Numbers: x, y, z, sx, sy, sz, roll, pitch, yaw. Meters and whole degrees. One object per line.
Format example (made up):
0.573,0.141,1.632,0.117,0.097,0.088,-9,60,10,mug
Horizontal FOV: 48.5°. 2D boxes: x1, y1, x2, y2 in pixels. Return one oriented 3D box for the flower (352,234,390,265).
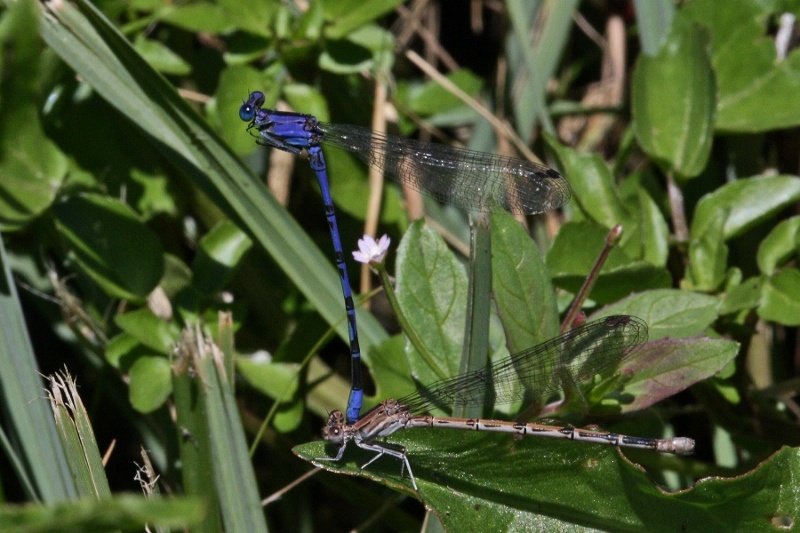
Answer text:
-0.085,-0.037,2.555,0.086,0.056,0.089,-25,39,37,flower
